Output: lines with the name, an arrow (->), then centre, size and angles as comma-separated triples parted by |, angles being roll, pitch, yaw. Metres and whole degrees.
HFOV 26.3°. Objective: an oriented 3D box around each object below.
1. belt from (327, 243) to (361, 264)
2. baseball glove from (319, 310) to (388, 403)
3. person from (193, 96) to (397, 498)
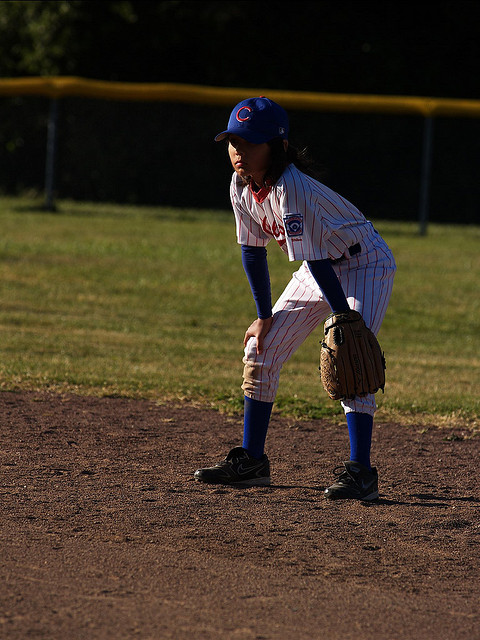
belt -> 0.366, -0.242, 3.630 | 0.048, 0.093, 0.069 | 48, 12, 0
baseball glove -> 0.381, 0.129, 3.613 | 0.234, 0.300, 0.111 | -7, 9, -18
person -> 0.206, -0.070, 3.691 | 0.690, 1.418, 0.532 | 5, 9, 10
